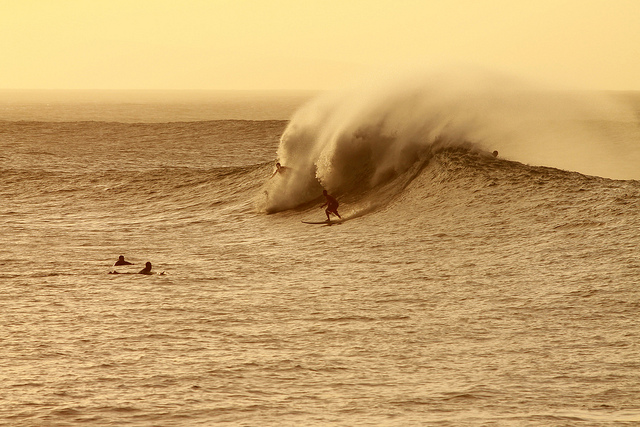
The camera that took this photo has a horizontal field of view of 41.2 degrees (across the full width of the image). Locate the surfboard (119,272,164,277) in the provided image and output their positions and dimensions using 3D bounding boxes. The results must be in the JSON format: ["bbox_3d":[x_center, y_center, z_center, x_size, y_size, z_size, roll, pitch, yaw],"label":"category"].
[{"bbox_3d":[-3.411,1.226,17.132,0.588,0.051,0.214,-1,14,-17],"label":"surfboard"}]
